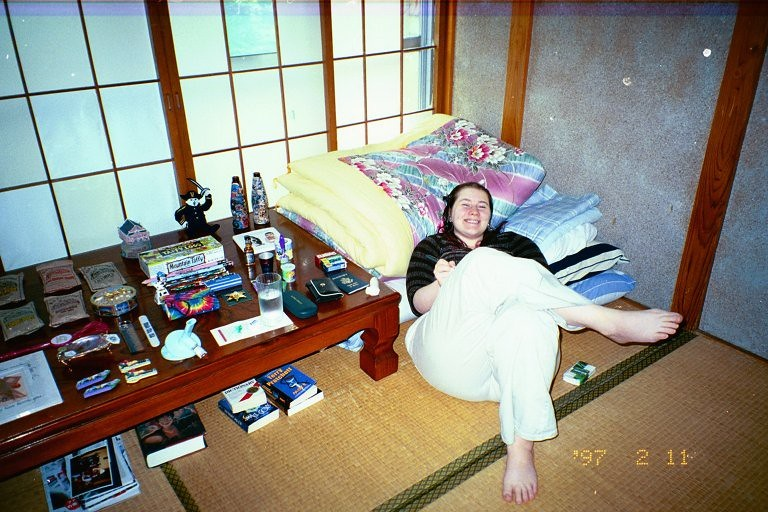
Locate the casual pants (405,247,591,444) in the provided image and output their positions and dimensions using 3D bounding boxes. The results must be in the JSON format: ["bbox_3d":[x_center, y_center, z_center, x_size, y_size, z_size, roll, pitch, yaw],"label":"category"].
[{"bbox_3d":[0.512,0.377,2.253,0.725,0.762,0.530,13,31,27],"label":"casual pants"}]

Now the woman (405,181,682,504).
[{"bbox_3d":[0.548,0.322,2.685,1.150,0.771,1.594,-11,25,-16],"label":"woman"}]

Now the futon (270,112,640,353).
[{"bbox_3d":[0.306,-0.379,2.944,1.656,0.486,1.602,-19,47,-35],"label":"futon"}]

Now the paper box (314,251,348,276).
[{"bbox_3d":[-0.297,0.030,2.675,0.119,0.049,0.148,-12,32,-27],"label":"paper box"}]

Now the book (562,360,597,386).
[{"bbox_3d":[1.087,0.635,2.640,0.151,0.039,0.107,-25,31,-38],"label":"book"}]

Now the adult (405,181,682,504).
[{"bbox_3d":[0.519,0.223,2.639,1.150,0.771,1.594,-11,25,-16],"label":"adult"}]
